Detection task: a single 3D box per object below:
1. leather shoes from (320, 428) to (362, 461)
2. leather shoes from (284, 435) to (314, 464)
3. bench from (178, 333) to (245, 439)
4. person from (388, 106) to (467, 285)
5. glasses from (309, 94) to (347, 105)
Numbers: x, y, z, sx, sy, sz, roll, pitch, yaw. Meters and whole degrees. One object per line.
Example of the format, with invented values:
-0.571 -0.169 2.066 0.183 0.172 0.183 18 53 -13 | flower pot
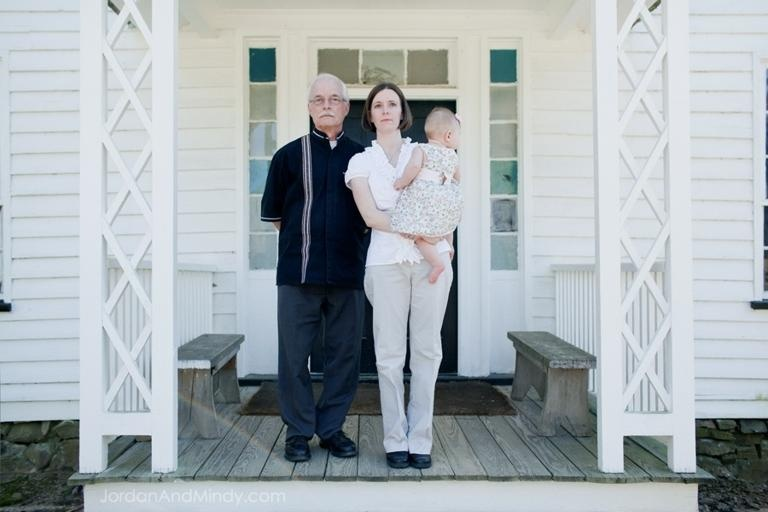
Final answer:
-0.331 1.503 6.626 0.335 0.164 0.157 5 6 30 | leather shoes
-0.674 1.528 6.550 0.115 0.129 0.275 4 10 -10 | leather shoes
-1.534 1.129 7.285 0.500 0.844 0.780 1 0 -5 | bench
0.332 -0.476 6.384 0.515 1.194 0.221 1 0 -25 | person
-0.431 -1.234 6.599 0.300 0.079 0.077 1 0 -10 | glasses
